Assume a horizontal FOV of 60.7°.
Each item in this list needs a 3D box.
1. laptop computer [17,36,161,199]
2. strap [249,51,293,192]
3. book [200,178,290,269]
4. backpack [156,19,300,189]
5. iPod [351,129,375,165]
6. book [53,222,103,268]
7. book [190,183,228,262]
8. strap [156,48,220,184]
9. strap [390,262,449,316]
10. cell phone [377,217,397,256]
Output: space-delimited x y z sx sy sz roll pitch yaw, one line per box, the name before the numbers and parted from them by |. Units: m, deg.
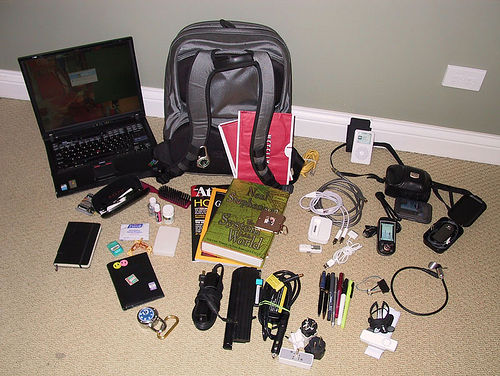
laptop computer | -0.693 -0.312 1.870 0.510 0.610 0.231 -8 31 -14
strap | 0.066 -0.293 1.829 0.218 0.398 0.094 -2 28 7
book | -0.020 0.166 1.811 0.350 0.051 0.471 10 45 10
backpack | -0.082 -0.406 1.966 0.662 0.741 0.482 5 47 0
iPod | 0.548 -0.202 2.077 0.091 0.020 0.178 8 70 15
book | -0.722 0.238 1.786 0.137 0.097 0.173 3 33 3
book | -0.161 0.075 1.886 0.195 0.027 0.366 -4 67 1
strap | -0.276 -0.283 1.810 0.308 0.601 0.063 -1 29 -3
strap | 0.704 0.405 1.736 0.267 0.129 0.177 -1 32 -4
cell phone | 0.591 0.207 1.838 0.082 0.049 0.181 3 55 13
